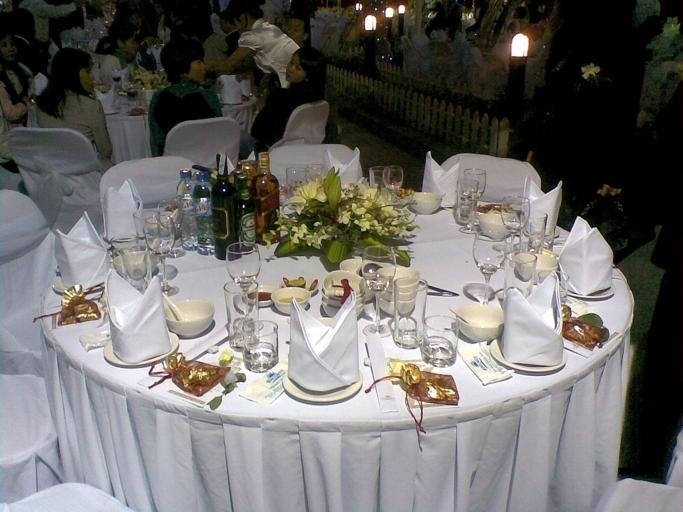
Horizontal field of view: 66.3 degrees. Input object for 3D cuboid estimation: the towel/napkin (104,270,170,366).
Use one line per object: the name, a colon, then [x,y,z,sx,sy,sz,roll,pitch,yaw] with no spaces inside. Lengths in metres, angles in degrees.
towel/napkin: [-0.784,0.248,2.001,0.223,0.307,0.163,19,32,41]

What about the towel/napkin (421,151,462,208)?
towel/napkin: [0.607,-0.485,3.279,0.257,0.330,0.309,0,20,-1]

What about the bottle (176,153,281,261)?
bottle: [-0.578,-0.230,2.650,0.191,0.651,0.443,29,41,31]

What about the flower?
flower: [-0.025,-0.179,2.577,0.514,0.281,0.557,-14,31,-28]

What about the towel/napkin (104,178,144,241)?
towel/napkin: [-1.098,-0.206,2.635,0.234,0.353,0.101,-5,11,-7]
